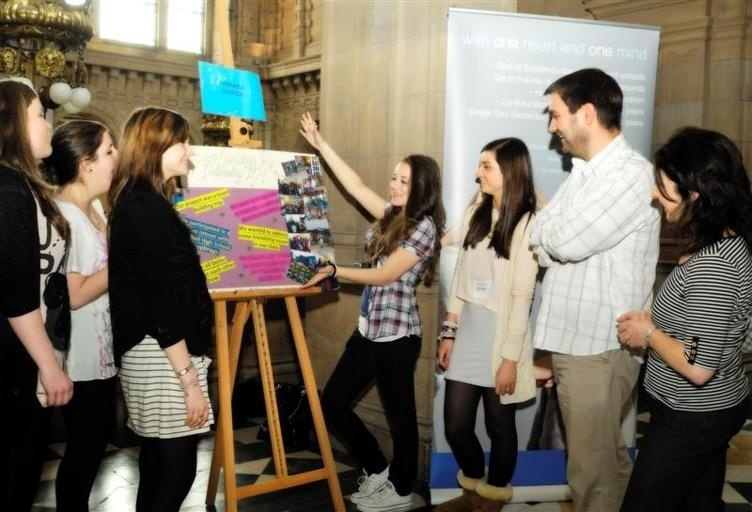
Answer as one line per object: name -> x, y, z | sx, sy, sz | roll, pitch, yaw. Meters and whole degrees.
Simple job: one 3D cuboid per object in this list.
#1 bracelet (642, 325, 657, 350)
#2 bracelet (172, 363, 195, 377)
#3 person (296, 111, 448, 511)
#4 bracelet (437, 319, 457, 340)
bracelet -> 1.060, 0.322, 2.327 | 0.029, 0.080, 0.069 | 8, -8, 8
bracelet -> -0.761, 0.454, 2.367 | 0.047, 0.017, 0.060 | -31, 6, -6
person -> 0.040, 0.447, 3.584 | 0.702, 2.097, 0.837 | 2, 8, 6
bracelet -> 0.400, 0.413, 3.263 | 0.096, 0.110, 0.074 | 0, -16, 45
